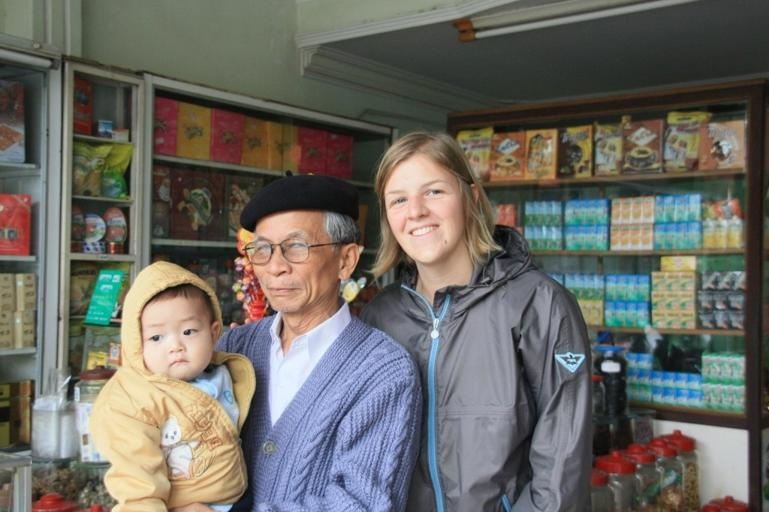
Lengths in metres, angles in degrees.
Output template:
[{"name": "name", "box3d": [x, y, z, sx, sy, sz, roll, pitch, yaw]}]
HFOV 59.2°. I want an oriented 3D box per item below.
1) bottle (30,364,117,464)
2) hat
[{"name": "bottle", "box3d": [-1.353, 0.679, 2.867, 0.413, 0.391, 0.289, 2, -6, -7]}, {"name": "hat", "box3d": [-0.240, -0.218, 2.804, 0.376, 0.130, 0.341, -6, -20, 34]}]
